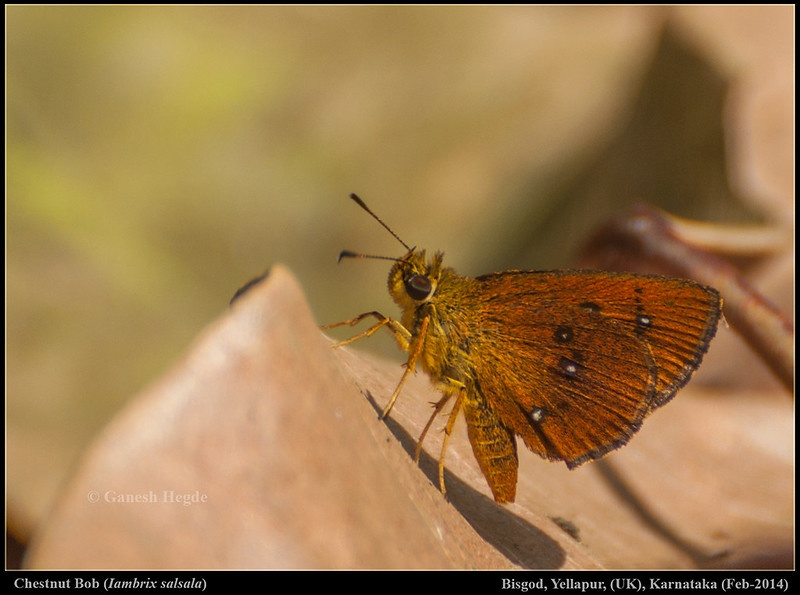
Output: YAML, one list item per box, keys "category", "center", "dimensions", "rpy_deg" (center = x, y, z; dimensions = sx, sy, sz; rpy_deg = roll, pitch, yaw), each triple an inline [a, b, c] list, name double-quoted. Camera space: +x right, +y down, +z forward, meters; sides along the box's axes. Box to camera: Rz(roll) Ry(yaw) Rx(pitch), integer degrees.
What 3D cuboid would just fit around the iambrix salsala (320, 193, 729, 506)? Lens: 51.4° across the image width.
- category: "iambrix salsala"
  center: [0.219, 0.202, 2.803]
  dimensions: [1.313, 1.068, 0.774]
  rpy_deg: [-4, 52, 42]
